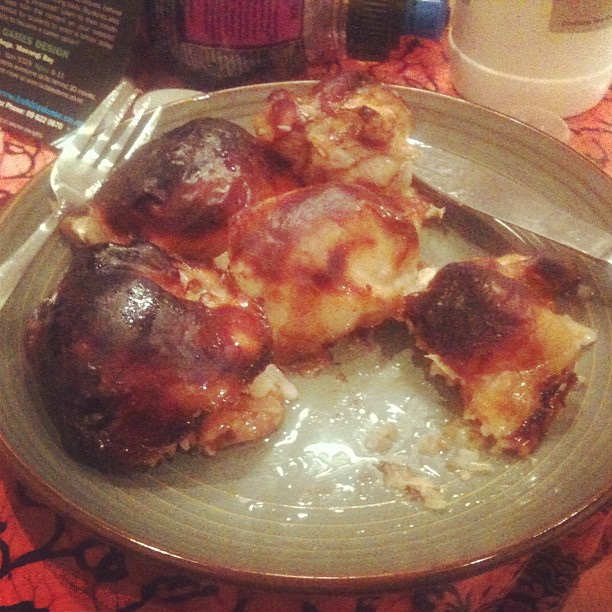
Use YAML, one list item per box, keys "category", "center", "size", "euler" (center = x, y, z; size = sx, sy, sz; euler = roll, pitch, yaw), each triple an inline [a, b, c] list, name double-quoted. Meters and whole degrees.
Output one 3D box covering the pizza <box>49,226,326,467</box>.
- category: "pizza"
  center: [-0.212, 0.057, 1.124]
  size: [0.306, 0.139, 0.343]
  euler: [-27, 69, -9]
